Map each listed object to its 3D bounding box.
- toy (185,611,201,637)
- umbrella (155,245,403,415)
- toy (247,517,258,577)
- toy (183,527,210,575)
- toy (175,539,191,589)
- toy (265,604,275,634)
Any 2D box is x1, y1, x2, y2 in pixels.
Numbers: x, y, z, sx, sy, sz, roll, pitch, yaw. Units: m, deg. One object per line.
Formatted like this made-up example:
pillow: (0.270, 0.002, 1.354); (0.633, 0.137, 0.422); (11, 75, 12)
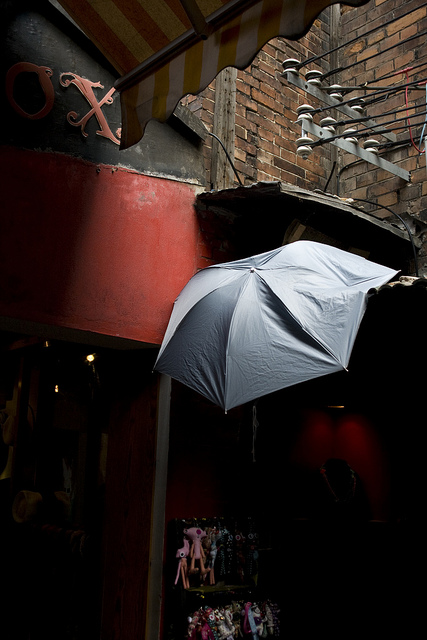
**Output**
toy: (-0.124, 1.839, 3.537); (0.106, 0.136, 0.032); (9, -17, -33)
umbrella: (0.314, 0.007, 3.247); (1.228, 1.036, 0.693); (-10, -18, 34)
toy: (0.260, 1.544, 3.983); (0.080, 0.374, 0.057); (2, -14, -6)
toy: (-0.111, 1.449, 3.693); (0.148, 0.279, 0.110); (-2, -11, 20)
toy: (-0.188, 1.512, 3.617); (0.037, 0.283, 0.109); (-9, -17, 33)
toy: (0.371, 2.016, 3.948); (0.049, 0.179, 0.019); (4, -32, -30)
